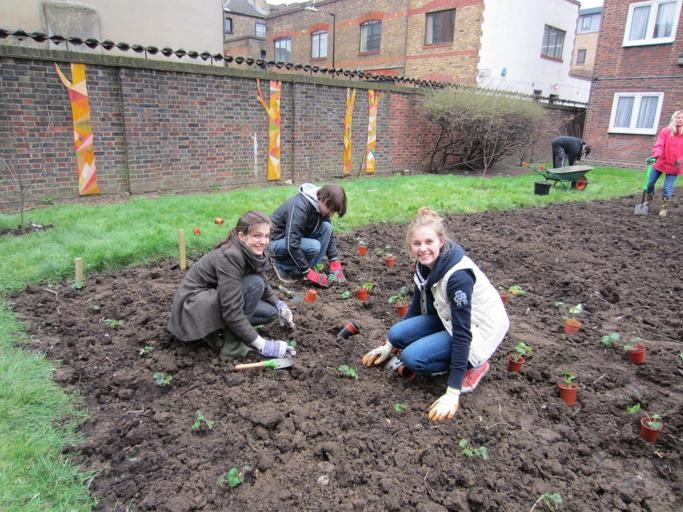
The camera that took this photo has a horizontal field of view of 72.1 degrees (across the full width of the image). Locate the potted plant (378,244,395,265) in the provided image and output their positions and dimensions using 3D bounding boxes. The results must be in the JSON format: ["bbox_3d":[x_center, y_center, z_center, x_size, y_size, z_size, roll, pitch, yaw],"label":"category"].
[{"bbox_3d":[0.616,-0.021,6.349,0.233,0.341,0.243,-5,7,1],"label":"potted plant"}]

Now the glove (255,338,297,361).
[{"bbox_3d":[-0.585,0.821,4.171,0.324,0.192,0.097,15,-33,-32],"label":"glove"}]

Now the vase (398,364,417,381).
[{"bbox_3d":[0.554,0.996,3.997,0.102,0.130,0.140,36,19,26],"label":"vase"}]

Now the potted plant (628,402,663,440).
[{"bbox_3d":[2.307,1.242,3.578,0.174,0.242,0.262,-11,13,-21],"label":"potted plant"}]

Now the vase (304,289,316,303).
[{"bbox_3d":[-0.341,0.448,5.285,0.133,0.138,0.129,-14,43,27],"label":"vase"}]

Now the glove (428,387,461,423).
[{"bbox_3d":[0.825,1.131,3.680,0.322,0.239,0.187,-4,16,-13],"label":"glove"}]

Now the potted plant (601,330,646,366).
[{"bbox_3d":[2.649,0.824,4.389,0.239,0.201,0.390,-21,14,-18],"label":"potted plant"}]

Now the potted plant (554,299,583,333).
[{"bbox_3d":[2.367,0.640,4.880,0.310,0.316,0.305,0,8,-34],"label":"potted plant"}]

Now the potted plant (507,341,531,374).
[{"bbox_3d":[1.589,0.919,4.204,0.132,0.261,0.147,13,17,-10],"label":"potted plant"}]

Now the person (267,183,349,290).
[{"bbox_3d":[-0.395,-0.314,5.752,1.107,1.262,0.883,19,27,31],"label":"person"}]

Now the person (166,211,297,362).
[{"bbox_3d":[-0.914,0.279,4.352,1.273,1.266,0.939,9,7,29],"label":"person"}]

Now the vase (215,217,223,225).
[{"bbox_3d":[-1.819,-0.520,6.967,0.099,0.107,0.106,-7,12,46],"label":"vase"}]

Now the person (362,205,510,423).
[{"bbox_3d":[0.811,0.381,3.895,0.796,1.559,0.833,-12,20,-35],"label":"person"}]

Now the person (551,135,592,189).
[{"bbox_3d":[6.564,-2.875,13.473,0.932,1.036,0.709,3,15,5],"label":"person"}]

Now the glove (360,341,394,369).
[{"bbox_3d":[0.331,0.890,4.208,0.314,0.092,0.172,-33,26,-29],"label":"glove"}]

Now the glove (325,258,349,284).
[{"bbox_3d":[-0.064,0.210,5.885,0.186,0.325,0.115,-14,-28,5],"label":"glove"}]

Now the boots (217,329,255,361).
[{"bbox_3d":[-0.952,0.811,4.288,0.266,0.217,0.349,-24,-9,-11],"label":"boots"}]

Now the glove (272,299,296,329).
[{"bbox_3d":[-0.534,0.557,4.676,0.166,0.279,0.107,-30,6,41],"label":"glove"}]

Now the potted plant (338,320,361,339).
[{"bbox_3d":[0.091,0.705,4.613,0.289,0.145,0.105,-9,18,-27],"label":"potted plant"}]

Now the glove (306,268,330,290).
[{"bbox_3d":[-0.286,0.255,5.626,0.297,0.234,0.136,-2,16,-4],"label":"glove"}]
